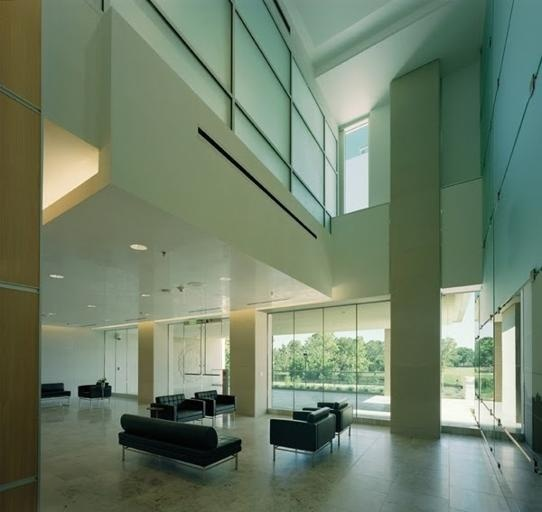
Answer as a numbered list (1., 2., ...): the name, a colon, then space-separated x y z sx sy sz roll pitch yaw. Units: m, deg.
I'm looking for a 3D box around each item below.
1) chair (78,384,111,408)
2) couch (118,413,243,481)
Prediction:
1. chair: -6.603 5.164 18.864 0.928 1.083 0.930 -10 -16 39
2. couch: -1.707 3.218 8.883 2.668 0.882 1.336 -5 -8 38
